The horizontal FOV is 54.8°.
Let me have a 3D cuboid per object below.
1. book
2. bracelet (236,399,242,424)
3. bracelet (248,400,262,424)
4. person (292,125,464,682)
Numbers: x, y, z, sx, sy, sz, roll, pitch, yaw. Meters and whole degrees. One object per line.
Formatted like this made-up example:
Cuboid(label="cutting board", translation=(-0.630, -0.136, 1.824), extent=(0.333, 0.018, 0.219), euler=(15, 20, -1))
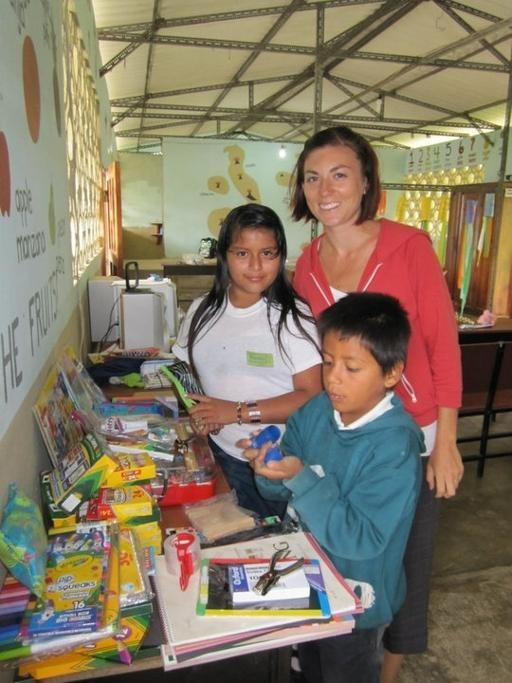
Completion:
Cuboid(label="book", translation=(-0.013, 0.436, 0.881), extent=(0.327, 0.066, 0.259), euler=(-3, 15, -16))
Cuboid(label="bracelet", translation=(-0.047, 0.208, 1.445), extent=(0.017, 0.042, 0.032), euler=(3, -11, 0))
Cuboid(label="bracelet", translation=(-0.004, 0.204, 1.435), extent=(0.034, 0.056, 0.056), euler=(-1, 5, -10))
Cuboid(label="person", translation=(0.357, 0.170, 1.585), extent=(0.677, 1.649, 0.562), euler=(-2, 12, -12))
